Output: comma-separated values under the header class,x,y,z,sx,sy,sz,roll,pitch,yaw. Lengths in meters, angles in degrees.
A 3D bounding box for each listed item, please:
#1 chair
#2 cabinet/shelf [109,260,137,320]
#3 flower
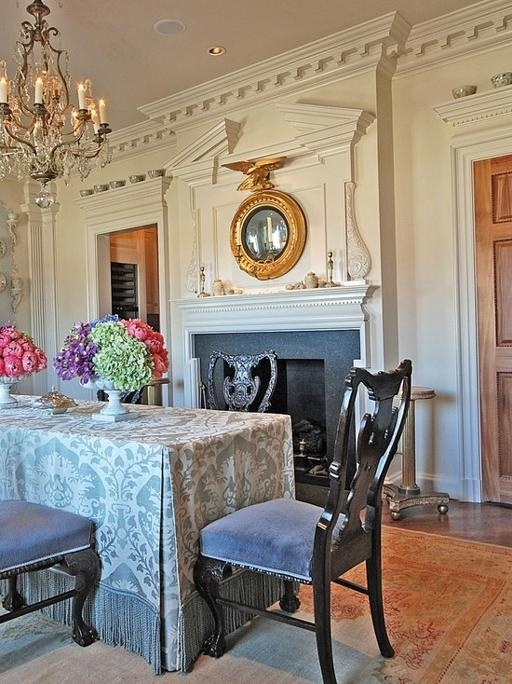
class,x,y,z,sx,sy,sz,roll,pitch,yaw
chair,0.115,0.523,1.641,0.577,0.930,0.517,-1,-3,31
cabinet/shelf,-1.653,-0.661,6.589,0.353,0.601,0.380,9,10,39
flower,-0.735,0.047,2.207,0.665,0.254,0.434,0,9,1
